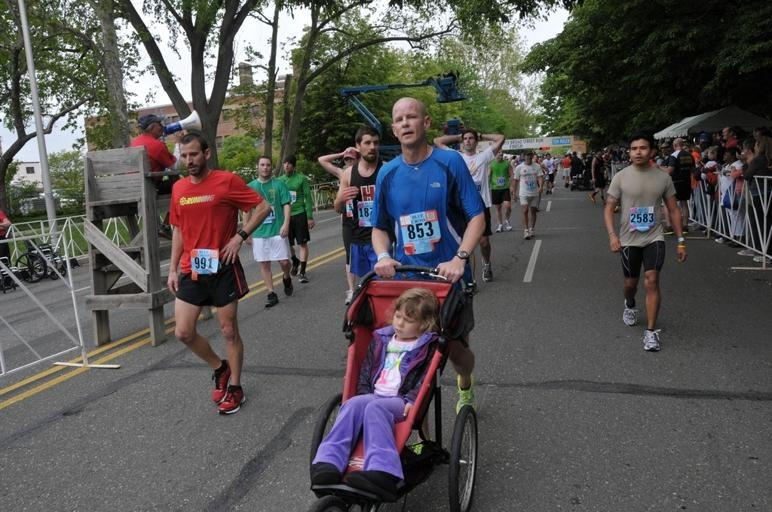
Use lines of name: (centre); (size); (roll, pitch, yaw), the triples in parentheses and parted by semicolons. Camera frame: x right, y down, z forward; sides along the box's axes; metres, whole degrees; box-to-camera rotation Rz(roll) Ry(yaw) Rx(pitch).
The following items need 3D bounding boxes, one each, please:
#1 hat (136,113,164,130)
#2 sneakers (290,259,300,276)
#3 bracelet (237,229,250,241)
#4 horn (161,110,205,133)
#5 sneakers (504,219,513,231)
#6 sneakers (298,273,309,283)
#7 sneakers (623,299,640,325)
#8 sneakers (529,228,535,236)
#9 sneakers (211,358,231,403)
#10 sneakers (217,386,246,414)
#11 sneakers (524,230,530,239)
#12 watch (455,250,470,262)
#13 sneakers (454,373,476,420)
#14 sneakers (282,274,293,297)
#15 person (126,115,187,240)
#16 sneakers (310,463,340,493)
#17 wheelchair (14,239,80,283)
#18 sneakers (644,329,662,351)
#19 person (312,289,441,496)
hat: (-3.682, -2.135, 9.073); (0.339, 0.185, 0.222); (-27, 41, -22)
sneakers: (-1.839, 0.208, 11.720); (0.135, 0.448, 0.183); (3, -8, 2)
bracelet: (-1.593, -0.241, 6.509); (0.093, 0.142, 0.129); (-46, 4, -18)
horn: (-3.324, -2.144, 9.532); (0.616, 0.471, 0.444); (-19, 20, -32)
sneakers: (3.622, -0.872, 17.032); (0.192, 0.272, 0.610); (-3, -1, 5)
sneakers: (-1.640, 0.441, 11.536); (0.153, 0.154, 0.342); (0, -5, -8)
sneakers: (3.377, 0.832, 7.990); (0.151, 0.453, 0.183); (3, -8, 17)
sneakers: (3.798, -0.607, 15.035); (0.161, 0.226, 0.503); (-1, 1, 7)
sneakers: (-1.892, 1.409, 6.594); (0.166, 0.524, 0.225); (-2, -14, 33)
sneakers: (-1.696, 1.550, 6.351); (0.287, 0.249, 0.253); (-10, 15, -17)
sneakers: (3.596, -0.545, 14.786); (0.179, 0.239, 0.518); (-2, 3, 14)
watch: (0.668, -0.008, 5.055); (0.107, 0.078, 0.106); (10, -25, -5)
sneakers: (0.738, 1.358, 5.624); (0.177, 0.583, 0.235); (3, 9, 19)
sneakers: (-1.764, 0.543, 10.488); (0.124, 0.410, 0.154); (-5, 0, 3)
person: (-3.640, -1.277, 9.325); (0.950, 1.925, 0.750); (-9, 13, -37)
sneakers: (-0.450, 1.635, 4.371); (0.138, 0.119, 0.236); (3, 21, -2)
wheelchair: (-8.833, 0.024, 14.941); (1.176, 1.178, 0.690); (-9, 13, -25)
sneakers: (3.308, 1.032, 7.205); (0.217, 0.215, 0.244); (-1, 15, 16)
person: (-0.063, 1.049, 4.652); (0.621, 1.257, 1.332); (2, 16, 27)
